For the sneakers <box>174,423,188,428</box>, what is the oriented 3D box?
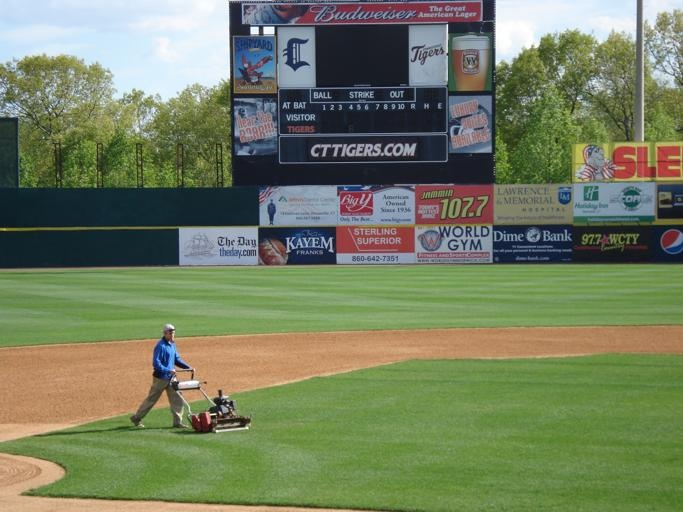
[{"bbox_3d":[-5.627,5.985,48.143,0.524,0.190,0.154,-1,1,-5],"label":"sneakers"}]
